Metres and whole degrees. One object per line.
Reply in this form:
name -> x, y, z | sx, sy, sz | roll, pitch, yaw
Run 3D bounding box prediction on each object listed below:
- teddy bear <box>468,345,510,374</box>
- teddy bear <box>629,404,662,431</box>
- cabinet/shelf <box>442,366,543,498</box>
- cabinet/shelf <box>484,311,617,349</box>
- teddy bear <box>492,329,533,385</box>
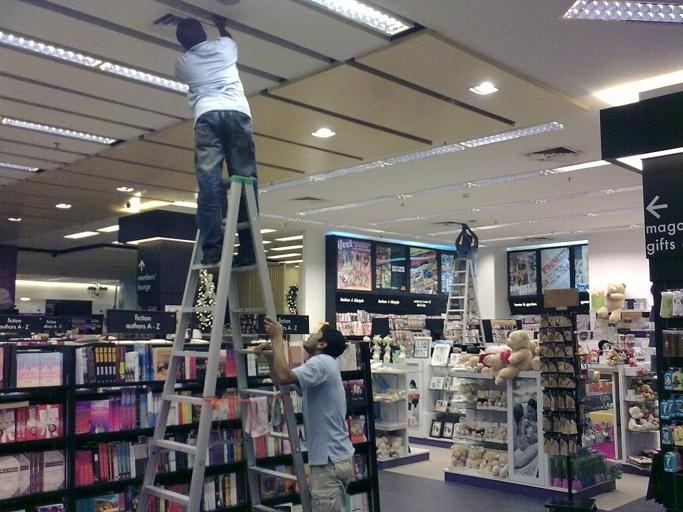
teddy bear -> 2.129, 1.489, 7.710 | 0.498, 0.242, 0.376 | -4, -11, -9
teddy bear -> 4.483, 2.405, 7.948 | 0.417, 0.436, 0.319 | -6, -12, 34
cabinet/shelf -> 2.256, 2.728, 8.273 | 0.775, 1.996, 2.188 | 11, -14, 6
cabinet/shelf -> 3.738, 1.336, 9.531 | 1.346, 0.512, 0.448 | -2, -3, 17
teddy bear -> 2.349, 1.427, 7.418 | 0.533, 0.802, 0.643 | 1, -16, 2
